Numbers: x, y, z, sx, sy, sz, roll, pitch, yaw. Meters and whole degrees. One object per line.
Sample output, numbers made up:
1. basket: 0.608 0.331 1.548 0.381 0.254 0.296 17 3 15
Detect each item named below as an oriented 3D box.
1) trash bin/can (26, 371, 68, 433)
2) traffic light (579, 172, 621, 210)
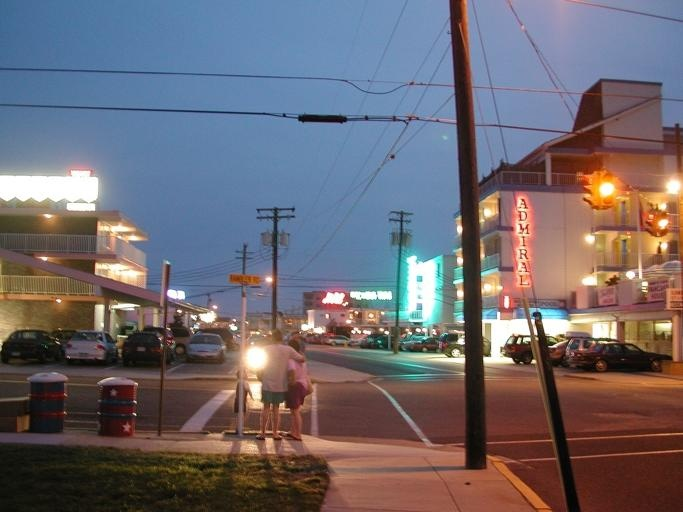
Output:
1. trash bin/can: -6.370 3.209 16.336 0.733 1.273 0.367 3 -9 -23
2. traffic light: 7.302 -1.949 21.484 0.791 1.195 0.716 -4 -9 17
